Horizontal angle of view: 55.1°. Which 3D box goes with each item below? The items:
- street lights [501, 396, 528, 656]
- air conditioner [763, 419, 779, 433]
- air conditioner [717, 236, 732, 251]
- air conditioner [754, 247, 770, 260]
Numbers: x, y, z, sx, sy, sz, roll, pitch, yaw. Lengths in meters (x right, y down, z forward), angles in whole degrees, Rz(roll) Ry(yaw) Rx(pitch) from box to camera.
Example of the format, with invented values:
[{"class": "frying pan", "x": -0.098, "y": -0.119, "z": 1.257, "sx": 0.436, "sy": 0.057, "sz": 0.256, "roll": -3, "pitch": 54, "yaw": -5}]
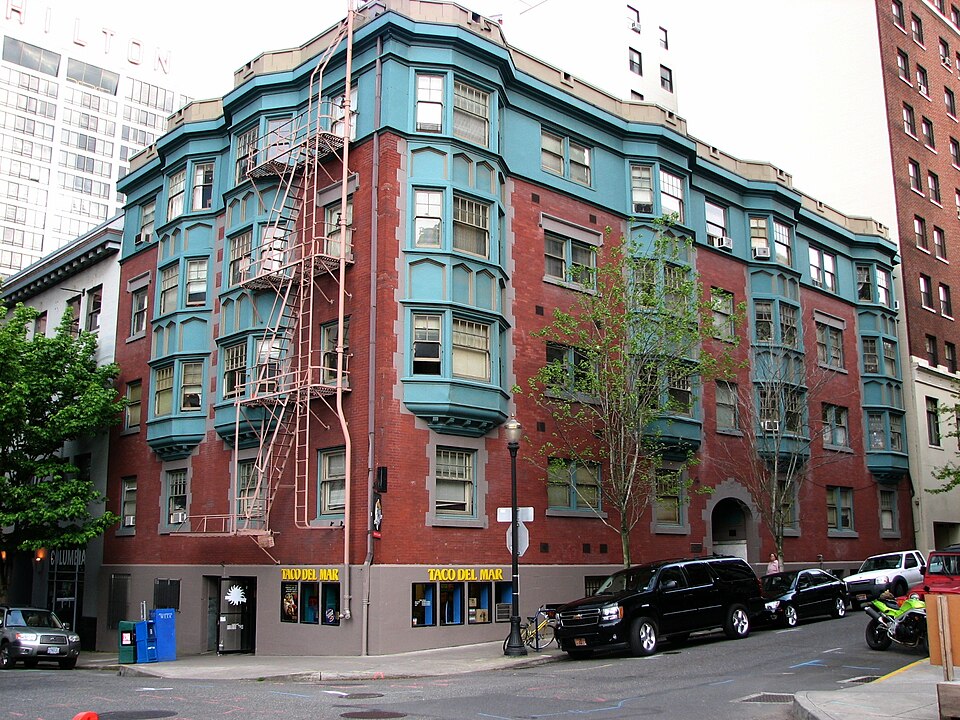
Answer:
[{"class": "street lights", "x": 0.983, "y": 5.251, "z": 27.585, "sx": 0.911, "sy": 7.385, "sz": 0.966, "roll": -4, "pitch": 5, "yaw": -38}, {"class": "air conditioner", "x": 12.504, "y": 2.879, "z": 39.971, "sx": 0.560, "sy": 0.562, "sz": 0.154, "roll": 2, "pitch": -21, "yaw": -10}, {"class": "air conditioner", "x": 10.632, "y": -5.104, "z": 40.189, "sx": 0.398, "sy": 0.737, "sz": 1.024, "roll": -5, "pitch": -4, "yaw": 25}, {"class": "air conditioner", "x": 12.640, "y": -4.814, "z": 41.615, "sx": 0.447, "sy": 0.391, "sz": 0.238, "roll": 7, "pitch": -22, "yaw": -12}]
